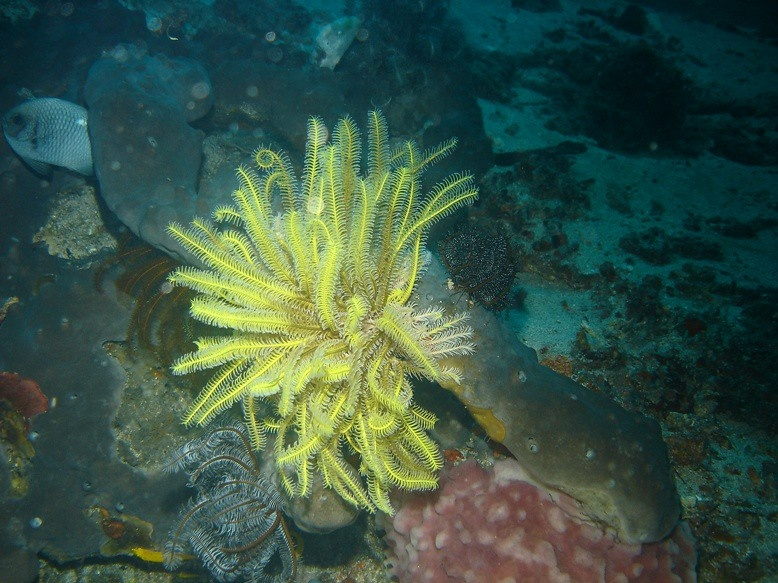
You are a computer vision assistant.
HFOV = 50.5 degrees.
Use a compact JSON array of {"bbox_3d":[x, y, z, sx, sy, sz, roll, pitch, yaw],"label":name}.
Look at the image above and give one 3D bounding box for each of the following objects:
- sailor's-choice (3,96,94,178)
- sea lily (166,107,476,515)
[{"bbox_3d":[-4.188,-1.905,10.202,1.078,0.690,0.609,5,55,-4],"label":"sailor's-choice"},{"bbox_3d":[-0.909,0.062,9.902,3.156,4.901,3.285,14,27,-18],"label":"sea lily"}]
